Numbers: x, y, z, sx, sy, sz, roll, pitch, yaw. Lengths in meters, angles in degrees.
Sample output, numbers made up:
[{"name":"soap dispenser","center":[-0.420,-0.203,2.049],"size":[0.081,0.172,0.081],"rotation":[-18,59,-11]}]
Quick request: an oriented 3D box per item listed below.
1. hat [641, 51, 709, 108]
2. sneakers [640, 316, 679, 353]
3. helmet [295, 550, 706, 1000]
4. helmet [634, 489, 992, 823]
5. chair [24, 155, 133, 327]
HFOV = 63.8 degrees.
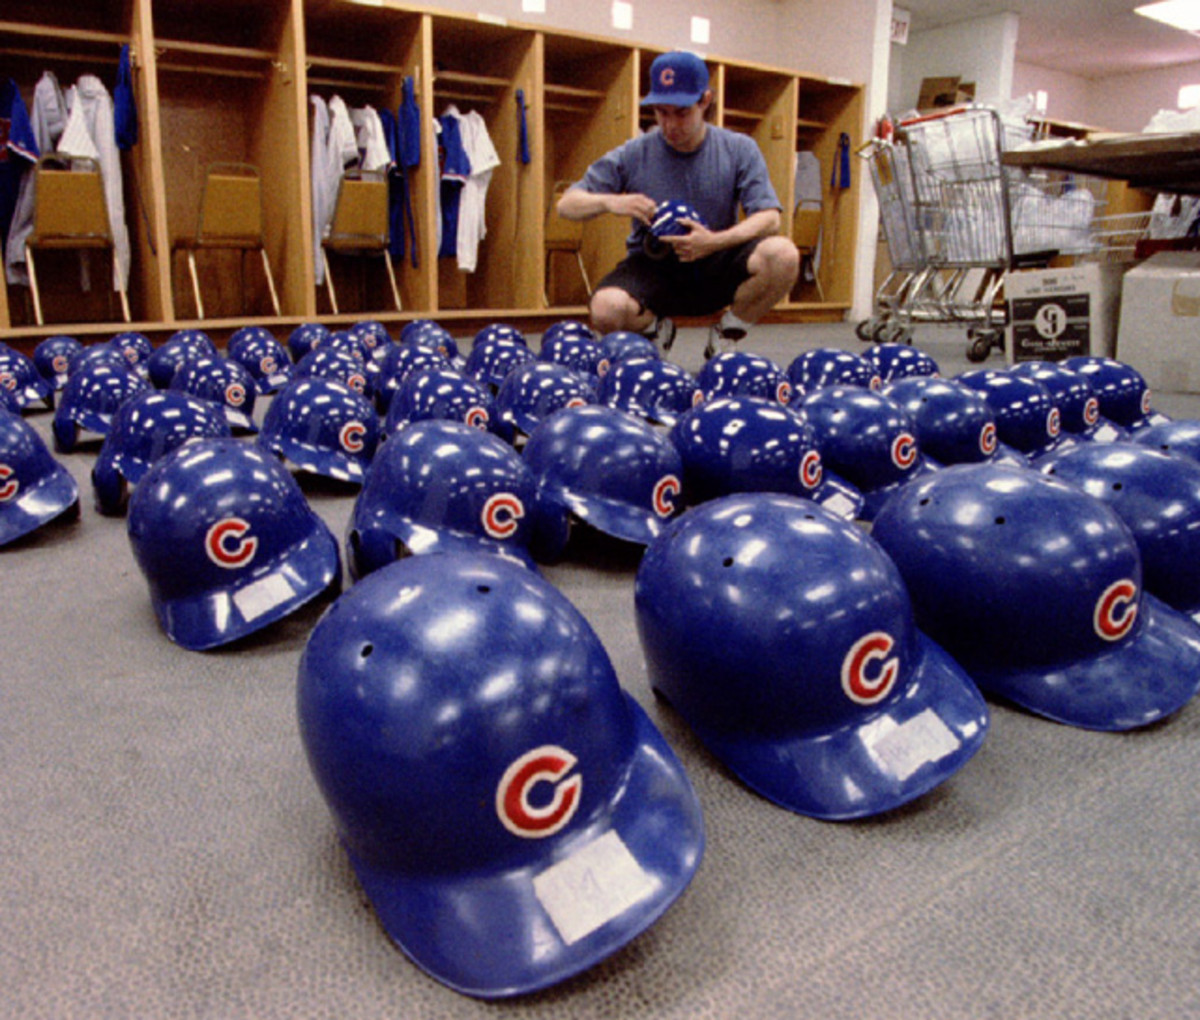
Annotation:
[{"name":"hat","center":[0.265,-1.397,3.170],"size":[0.147,0.126,0.228],"rotation":[13,55,16]},{"name":"sneakers","center":[0.203,-0.676,3.653],"size":[0.097,0.086,0.159],"rotation":[-5,41,-40]},{"name":"helmet","center":[-0.109,0.239,0.855],"size":[0.268,0.187,0.344],"rotation":[-24,49,-37]},{"name":"helmet","center":[0.199,0.163,1.030],"size":[0.260,0.178,0.342],"rotation":[-28,39,-33]},{"name":"chair","center":[-2.352,-1.146,4.280],"size":[0.391,0.705,0.938],"rotation":[-10,20,-24]}]
